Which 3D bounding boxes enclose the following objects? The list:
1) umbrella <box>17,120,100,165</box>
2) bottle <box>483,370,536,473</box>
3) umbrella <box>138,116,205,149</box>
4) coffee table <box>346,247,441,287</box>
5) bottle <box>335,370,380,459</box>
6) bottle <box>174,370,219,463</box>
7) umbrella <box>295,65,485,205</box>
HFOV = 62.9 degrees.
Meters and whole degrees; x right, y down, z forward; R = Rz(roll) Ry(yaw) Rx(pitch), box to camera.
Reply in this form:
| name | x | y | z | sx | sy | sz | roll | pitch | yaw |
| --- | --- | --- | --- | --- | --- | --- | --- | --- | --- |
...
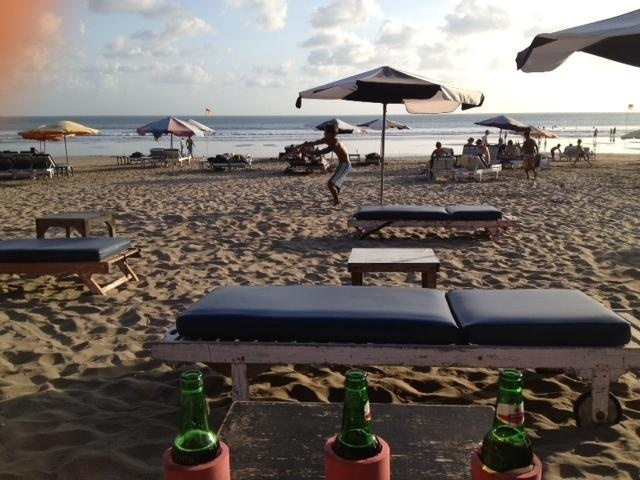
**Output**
| name | x | y | z | sx | sy | sz | roll | pitch | yaw |
| --- | --- | --- | --- | --- | --- | --- | --- | --- | --- |
| umbrella | -7.982 | -3.118 | 16.336 | 2.186 | 0.908 | 1.660 | 1 | 11 | -1 |
| bottle | 0.577 | 0.552 | 1.617 | 0.153 | 0.309 | 0.158 | 1 | 16 | 0 |
| umbrella | -4.408 | -3.377 | 15.835 | 1.786 | 0.513 | 1.417 | -1 | 7 | 3 |
| coffee table | 0.649 | 0.248 | 4.806 | 0.756 | 0.291 | 0.722 | 1 | 12 | 3 |
| bottle | 0.124 | 0.540 | 1.669 | 0.143 | 0.279 | 0.149 | 1 | 16 | 0 |
| bottle | -0.404 | 0.559 | 1.670 | 0.148 | 0.293 | 0.142 | 1 | 16 | 0 |
| umbrella | 0.911 | -1.697 | 7.282 | 2.098 | 1.347 | 1.797 | -13 | 32 | -25 |
